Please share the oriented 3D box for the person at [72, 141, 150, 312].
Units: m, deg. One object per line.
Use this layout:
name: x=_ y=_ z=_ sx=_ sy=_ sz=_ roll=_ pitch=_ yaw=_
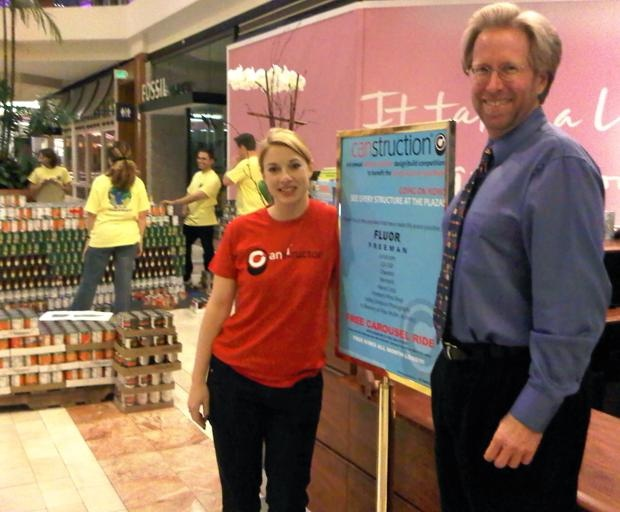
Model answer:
person: x=-2.207 y=-0.281 z=5.876 sx=0.809 sy=1.933 sz=0.497 roll=-3 pitch=9 yaw=-25
